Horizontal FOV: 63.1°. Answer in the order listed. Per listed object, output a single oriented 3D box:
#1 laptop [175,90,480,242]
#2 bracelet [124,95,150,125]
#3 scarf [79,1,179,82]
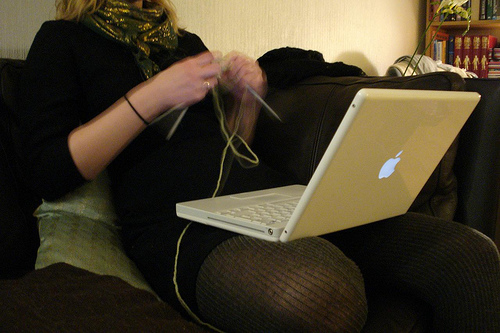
[{"bbox_3d":[0.215,-0.006,0.951,0.454,0.302,0.502,13,15,42],"label":"laptop"},{"bbox_3d":[-0.305,-0.153,1.087,0.014,0.093,0.013,-38,7,-2],"label":"bracelet"},{"bbox_3d":[-0.385,-0.391,1.372,0.304,0.269,0.286,-11,21,-42],"label":"scarf"}]
